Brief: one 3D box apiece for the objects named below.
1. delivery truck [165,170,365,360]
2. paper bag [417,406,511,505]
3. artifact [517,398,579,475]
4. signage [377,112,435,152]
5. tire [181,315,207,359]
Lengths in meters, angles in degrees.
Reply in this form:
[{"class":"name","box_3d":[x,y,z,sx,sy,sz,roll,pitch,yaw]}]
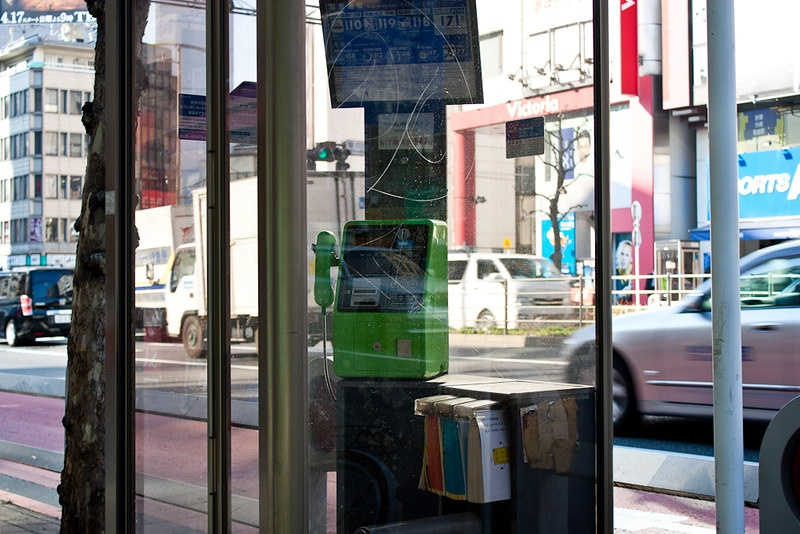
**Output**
[{"class":"delivery truck","box_3d":[-0.898,0.002,7.423,1.837,1.576,1.097,-1,0,29]},{"class":"paper bag","box_3d":[0.468,1.334,7.394,0.611,0.888,0.629,5,-5,-43]},{"class":"artifact","box_3d":[1.132,1.228,7.338,0.441,0.524,0.127,-3,2,-19]},{"class":"signage","box_3d":[0.045,-0.961,7.140,0.399,0.251,0.081,0,-1,-7]},{"class":"tire","box_3d":[-1.501,0.510,7.253,0.098,0.313,0.278,-3,0,-40]}]
